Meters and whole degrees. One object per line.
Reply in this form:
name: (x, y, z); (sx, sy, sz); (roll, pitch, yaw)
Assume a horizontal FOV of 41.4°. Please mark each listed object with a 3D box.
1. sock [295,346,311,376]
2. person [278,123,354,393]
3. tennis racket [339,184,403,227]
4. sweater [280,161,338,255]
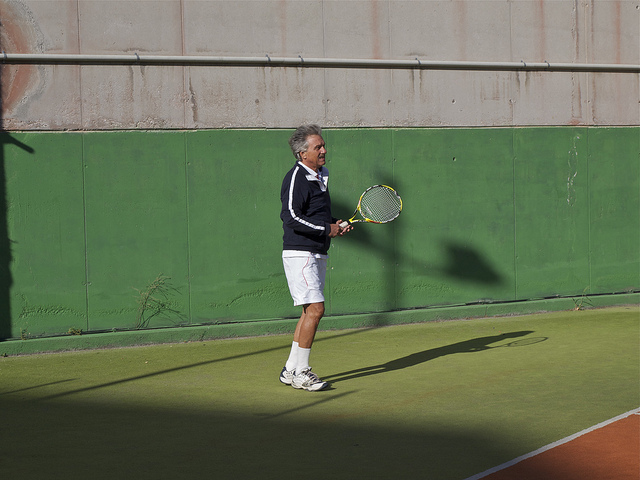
sock: (-0.184, 1.209, 8.432); (0.117, 0.292, 0.101); (7, 5, -4)
person: (-0.119, 0.184, 8.425); (0.711, 2.637, 0.418); (7, 5, -1)
tennis racket: (0.583, -0.366, 9.071); (0.577, 0.484, 0.603); (11, 6, -12)
sweater: (-0.084, -0.307, 8.450); (0.500, 0.967, 0.515); (0, 9, -42)
